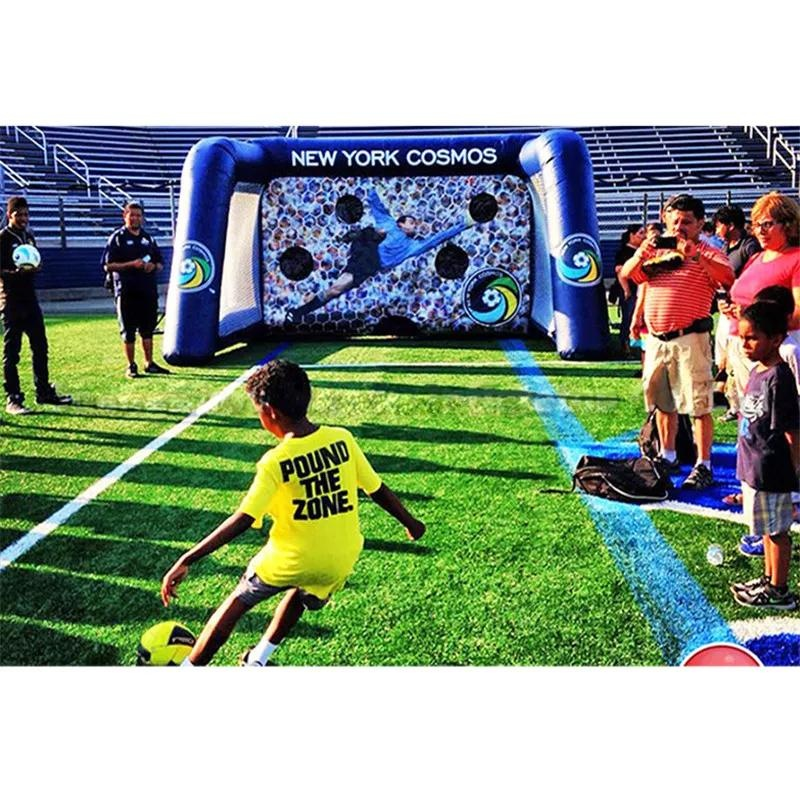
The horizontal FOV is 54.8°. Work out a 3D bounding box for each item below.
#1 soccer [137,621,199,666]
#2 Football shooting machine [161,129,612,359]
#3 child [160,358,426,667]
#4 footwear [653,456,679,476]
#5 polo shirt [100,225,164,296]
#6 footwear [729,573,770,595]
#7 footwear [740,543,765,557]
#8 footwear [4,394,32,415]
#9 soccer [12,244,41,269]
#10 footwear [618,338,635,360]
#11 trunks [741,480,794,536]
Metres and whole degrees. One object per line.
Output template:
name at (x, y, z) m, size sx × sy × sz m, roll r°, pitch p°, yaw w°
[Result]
soccer at (-0.867, 0.910, 2.858) m, size 0.167 × 0.193 × 0.177 m, roll -3°, pitch -27°, yaw 4°
Football shooting machine at (-0.038, -1.906, 9.544) m, size 5.100 × 2.851 × 1.481 m, roll 1°, pitch 8°, yaw 1°
child at (-0.384, 0.486, 2.807) m, size 0.884 × 1.265 × 0.614 m, roll 4°, pitch 7°, yaw -24°
footwear at (1.713, 0.427, 4.964) m, size 0.164 × 0.087 × 0.060 m, roll 24°, pitch -6°, yaw -25°
polo shirt at (-2.891, -1.507, 8.355) m, size 0.616 × 0.713 × 0.397 m, roll -4°, pitch 9°, yaw -24°
footwear at (1.566, 0.830, 3.471) m, size 0.187 × 0.085 × 0.069 m, roll -3°, pitch 11°, yaw 10°
footwear at (1.772, 0.735, 3.890) m, size 0.110 × 0.072 × 0.135 m, roll 4°, pitch 10°, yaw 22°
footwear at (-3.459, 0.047, 6.990) m, size 0.219 × 0.247 × 0.148 m, roll 7°, pitch -7°, yaw -29°
soccer at (-3.202, -1.216, 6.570) m, size 0.119 × 0.150 × 0.128 m, roll -20°, pitch -35°, yaw -4°
footwear at (2.783, -0.619, 9.452) m, size 0.085 × 0.281 × 0.385 m, roll -2°, pitch 6°, yaw 18°
trunks at (1.566, 0.415, 3.296) m, size 0.176 × 0.365 × 0.247 m, roll 0°, pitch 1°, yaw 40°
